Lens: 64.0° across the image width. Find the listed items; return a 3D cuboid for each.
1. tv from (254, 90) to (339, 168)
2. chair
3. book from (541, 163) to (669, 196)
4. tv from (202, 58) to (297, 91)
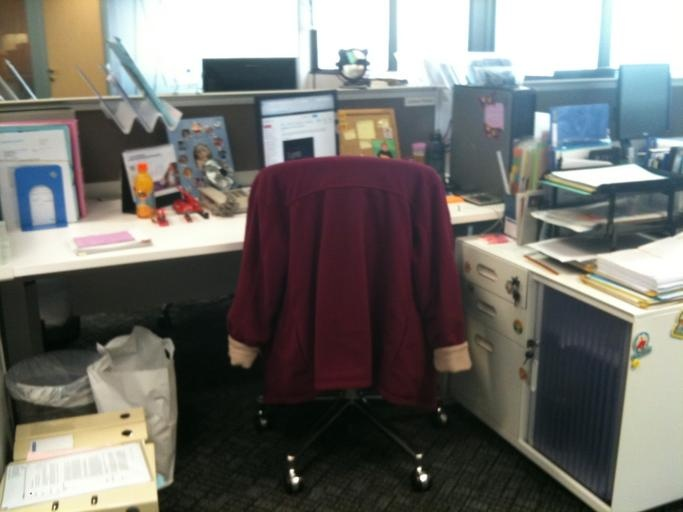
[{"bbox_3d":[-0.204,-0.578,2.456,0.434,0.370,0.045,-12,23,-21],"label":"tv"},{"bbox_3d":[0.083,0.121,2.095,0.855,1.175,0.692,3,27,11],"label":"chair"},{"bbox_3d":[0.992,-0.282,2.034,0.402,0.065,0.255,-7,19,-9],"label":"book"},{"bbox_3d":[-0.629,-1.258,3.790,0.642,0.228,0.098,-8,18,-13],"label":"tv"}]
